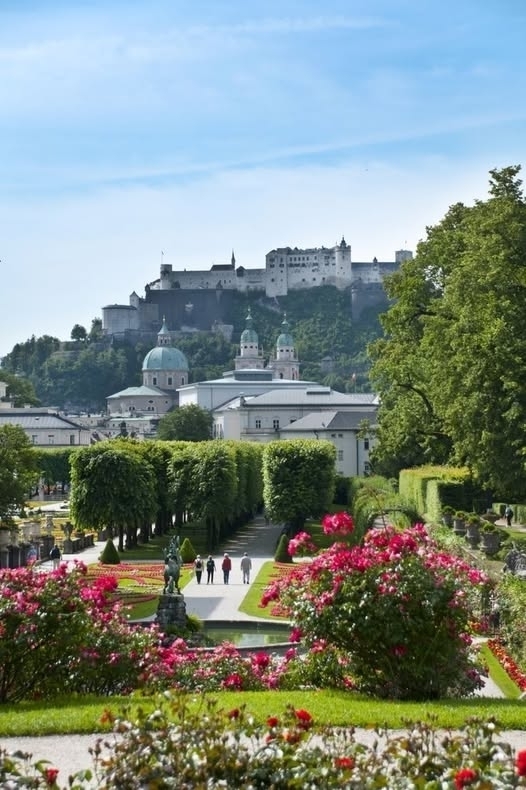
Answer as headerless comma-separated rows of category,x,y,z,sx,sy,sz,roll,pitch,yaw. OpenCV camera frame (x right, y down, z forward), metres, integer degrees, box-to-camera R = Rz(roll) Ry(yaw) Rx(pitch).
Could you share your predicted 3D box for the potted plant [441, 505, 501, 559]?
potted plant,5.080,3.243,32.061,0.548,0.926,2.306,1,-2,-7
